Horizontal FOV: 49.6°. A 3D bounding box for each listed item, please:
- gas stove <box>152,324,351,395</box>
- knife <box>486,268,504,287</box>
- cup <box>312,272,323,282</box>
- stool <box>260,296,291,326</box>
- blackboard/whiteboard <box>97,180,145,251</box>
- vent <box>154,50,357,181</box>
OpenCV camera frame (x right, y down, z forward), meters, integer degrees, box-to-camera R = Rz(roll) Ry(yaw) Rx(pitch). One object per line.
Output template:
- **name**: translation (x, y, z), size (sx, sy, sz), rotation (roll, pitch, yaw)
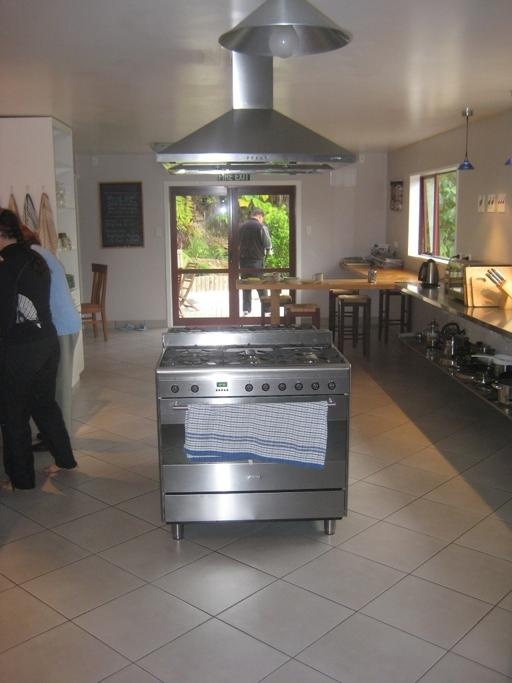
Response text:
- **gas stove**: translation (-0.017, 0.096, 2.673), size (0.909, 0.203, 0.746), rotation (-1, 8, -4)
- **knife**: translation (1.732, -0.470, 4.036), size (0.053, 0.085, 0.139), rotation (13, 39, -34)
- **cup**: translation (0.726, -0.755, 6.498), size (0.174, 0.108, 0.104), rotation (-1, 9, 1)
- **stool**: translation (0.270, -0.457, 7.603), size (0.473, 0.409, 0.356), rotation (1, 20, 4)
- **blackboard/whiteboard**: translation (-2.034, -1.913, 8.352), size (0.028, 0.964, 0.796), rotation (18, 23, 39)
- **vent**: translation (-0.022, -1.308, 3.178), size (1.055, 0.634, 0.643), rotation (-1, 8, -3)
